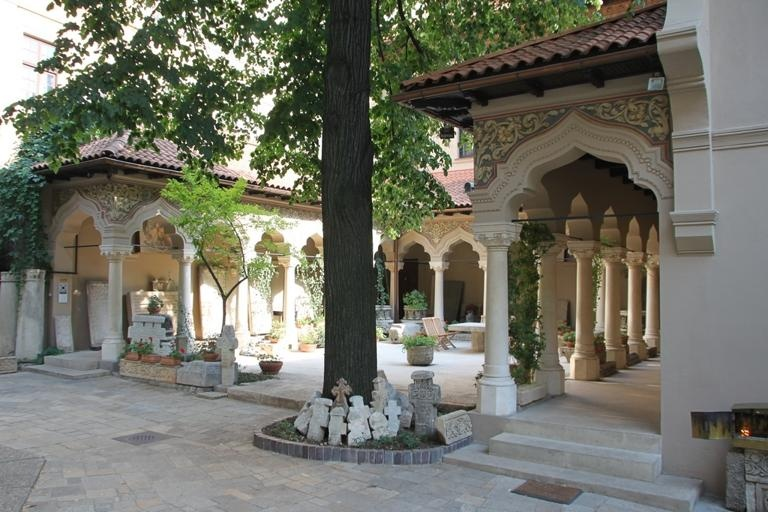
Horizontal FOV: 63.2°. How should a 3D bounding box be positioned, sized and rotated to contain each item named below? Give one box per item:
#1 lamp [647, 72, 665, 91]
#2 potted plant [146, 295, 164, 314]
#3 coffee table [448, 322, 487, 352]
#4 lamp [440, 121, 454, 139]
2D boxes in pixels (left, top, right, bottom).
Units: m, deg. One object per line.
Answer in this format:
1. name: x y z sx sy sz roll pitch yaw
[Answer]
1. lamp: 4.013 -2.599 9.191 0.240 0.297 0.494 2 8 23
2. potted plant: -6.352 1.334 17.342 0.523 0.482 0.515 1 -7 0
3. coffee table: 2.525 2.272 18.519 1.243 0.718 1.219 0 -5 5
4. lamp: 1.188 -2.369 11.691 0.272 0.288 0.639 -1 8 4
